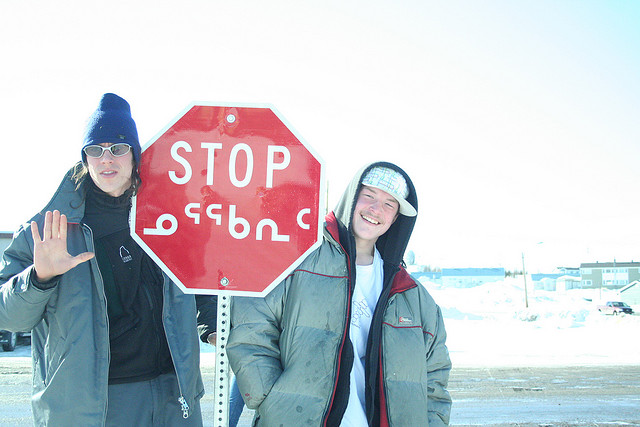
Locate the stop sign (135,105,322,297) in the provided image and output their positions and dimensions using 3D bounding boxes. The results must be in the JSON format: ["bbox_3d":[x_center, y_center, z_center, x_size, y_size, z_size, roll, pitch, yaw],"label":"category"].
[{"bbox_3d":[-0.604,-0.099,3.977,1.053,1.188,0.092,5,-3,-2],"label":"stop sign"}]
